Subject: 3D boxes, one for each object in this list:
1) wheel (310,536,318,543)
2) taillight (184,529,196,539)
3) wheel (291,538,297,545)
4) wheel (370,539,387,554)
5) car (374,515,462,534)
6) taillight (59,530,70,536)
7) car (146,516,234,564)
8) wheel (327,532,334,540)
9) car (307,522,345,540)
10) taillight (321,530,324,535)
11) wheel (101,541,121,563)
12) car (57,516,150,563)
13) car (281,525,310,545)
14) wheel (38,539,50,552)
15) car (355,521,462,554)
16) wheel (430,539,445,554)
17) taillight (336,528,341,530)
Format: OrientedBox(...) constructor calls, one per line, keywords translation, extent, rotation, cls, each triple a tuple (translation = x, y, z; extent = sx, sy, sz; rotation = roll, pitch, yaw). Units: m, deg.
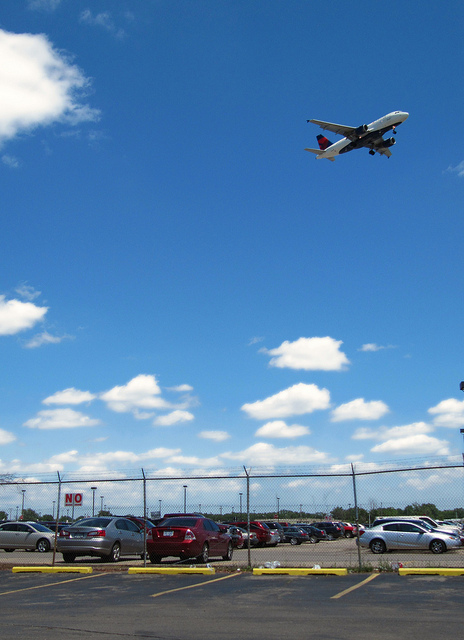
OrientedBox(translation=(4.346, 11.477, 38.575), extent=(0.484, 0.407, 0.172), rotation=(-4, -13, 21), cls="wheel")
OrientedBox(translation=(-1.061, 5.359, 18.400), extent=(0.087, 0.221, 0.312), rotation=(-16, -20, 38), cls="taillight")
OrientedBox(translation=(2.994, 10.546, 35.148), extent=(0.321, 0.281, 0.112), rotation=(11, -12, 33), cls="wheel")
OrientedBox(translation=(5.055, 7.698, 25.069), extent=(0.614, 0.526, 0.229), rotation=(-4, -8, 34), cls="wheel")
OrientedBox(translation=(9.736, 9.588, 34.322), extent=(2.431, 0.778, 1.035), rotation=(-8, -16, 19), cls="car")
OrientedBox(translation=(-4.515, 5.705, 19.774), extent=(0.230, 0.144, 0.339), rotation=(1, -21, -7), cls="taillight")
OrientedBox(translation=(-0.996, 5.742, 19.362), extent=(1.157, 0.699, 2.391), rotation=(-4, -12, 20), cls="car")
OrientedBox(translation=(5.686, 12.358, 42.132), extent=(0.415, 0.414, 0.879), rotation=(-4, -15, 6), cls="wheel")
OrientedBox(translation=(5.729, 11.984, 42.181), extent=(2.846, 0.863, 1.233), rotation=(2, -13, 4), cls="car")
OrientedBox(translation=(4.788, 11.118, 38.559), extent=(0.163, 0.170, 0.194), rotation=(-1, -1, 5), cls="taillight")
OrientedBox(translation=(-3.271, 6.194, 19.737), extent=(0.378, 0.738, 0.815), rotation=(-3, -8, 9), cls="wheel")
OrientedBox(translation=(-3.536, 5.998, 20.159), extent=(1.060, 1.233, 2.106), rotation=(-12, -18, 31), cls="car")
OrientedBox(translation=(3.095, 10.522, 35.913), extent=(1.090, 0.757, 1.629), rotation=(-4, -15, 6), cls="car")
OrientedBox(translation=(-6.993, 8.299, 27.167), extent=(0.614, 0.509, 0.186), rotation=(-3, -5, 12), cls="wheel")
OrientedBox(translation=(6.012, 7.401, 25.035), extent=(3.107, 1.061, 0.821), rotation=(-5, -16, 10), cls="car")
OrientedBox(translation=(6.907, 7.544, 24.518), extent=(0.503, 0.466, 0.224), rotation=(-7, -17, 16), cls="wheel")
OrientedBox(translation=(6.151, 11.916, 42.080), extent=(0.352, 0.068, 0.319), rotation=(2, -6, -9), cls="taillight")
